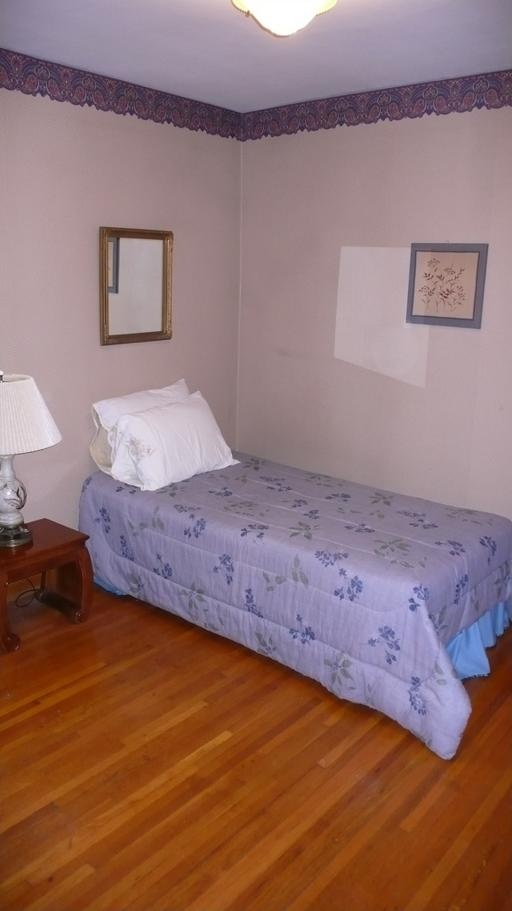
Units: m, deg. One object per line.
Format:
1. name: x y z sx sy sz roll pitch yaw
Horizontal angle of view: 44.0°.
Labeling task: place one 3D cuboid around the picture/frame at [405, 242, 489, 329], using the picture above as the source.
1. picture/frame: 0.946 -0.837 3.086 0.026 0.411 0.364 -10 19 -40

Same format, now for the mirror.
1. mirror: -0.658 -0.931 3.406 0.048 0.717 0.589 7 10 30
